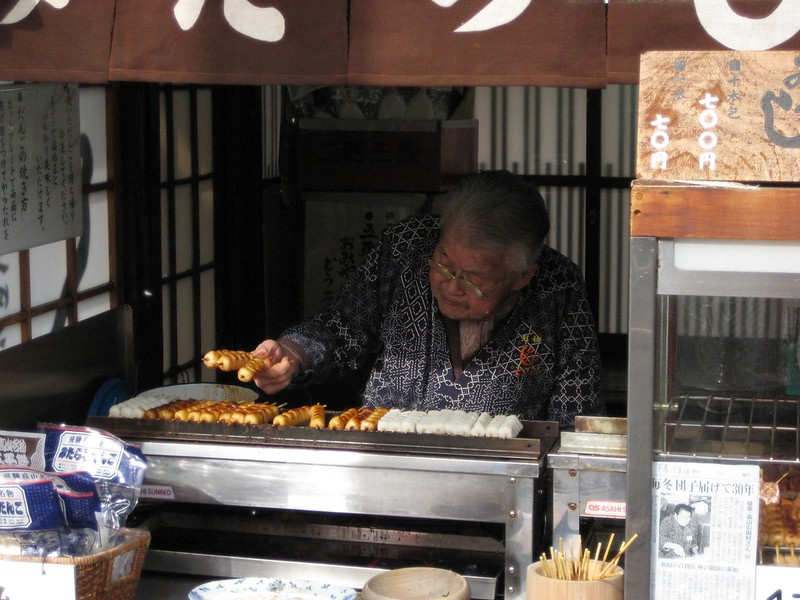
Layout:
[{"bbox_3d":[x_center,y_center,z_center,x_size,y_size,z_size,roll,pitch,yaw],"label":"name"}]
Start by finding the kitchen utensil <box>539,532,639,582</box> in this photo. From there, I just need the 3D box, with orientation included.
[{"bbox_3d":[0.591,0.831,2.977,0.301,0.228,0.231,1,-2,2],"label":"kitchen utensil"}]
